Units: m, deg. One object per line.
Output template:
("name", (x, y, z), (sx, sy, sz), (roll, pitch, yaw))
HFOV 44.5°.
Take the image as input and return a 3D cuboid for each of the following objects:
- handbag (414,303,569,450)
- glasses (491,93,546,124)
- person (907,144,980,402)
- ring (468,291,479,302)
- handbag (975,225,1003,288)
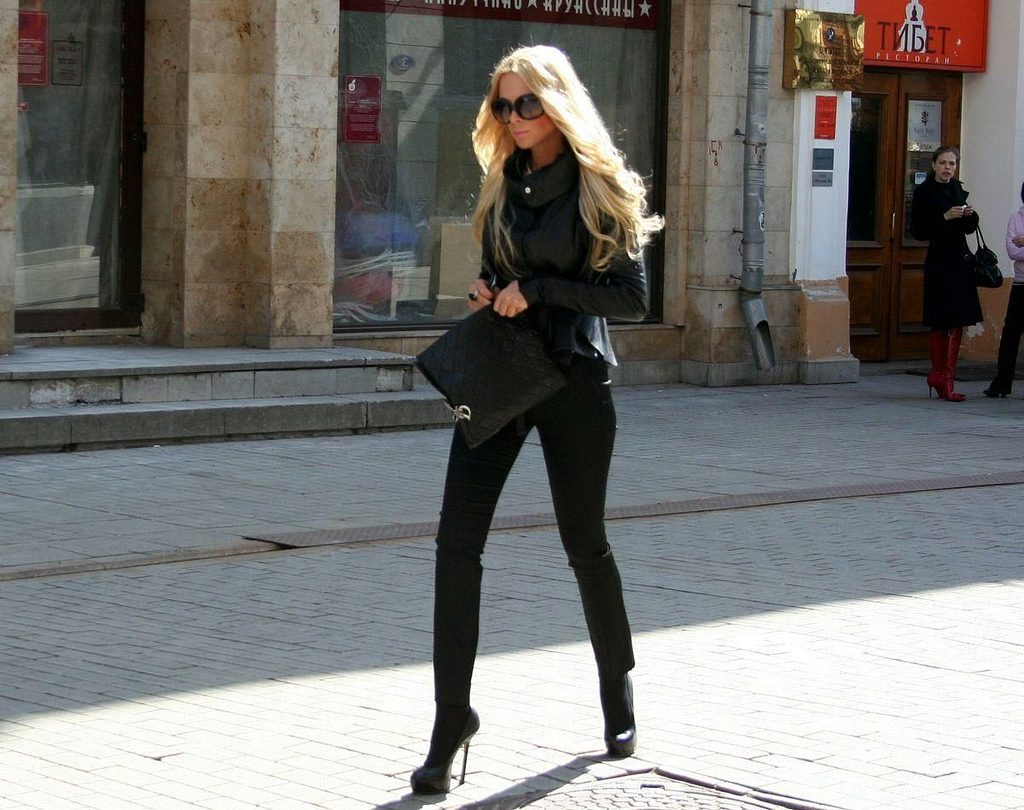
("handbag", (-0.047, -0.065, 3.618), (0.416, 0.401, 0.171), (-35, -17, -4))
("glasses", (0.009, -0.839, 3.579), (0.188, 0.073, 0.058), (6, 8, 39))
("person", (4.588, -1.375, 13.219), (0.714, 2.677, 0.696), (3, 6, 16))
("ring", (-0.113, -0.305, 3.589), (0.025, 0.018, 0.020), (-1, 2, 11))
("handbag", (5.334, -1.637, 13.996), (0.274, 0.675, 2.311), (3, 7, 21))
